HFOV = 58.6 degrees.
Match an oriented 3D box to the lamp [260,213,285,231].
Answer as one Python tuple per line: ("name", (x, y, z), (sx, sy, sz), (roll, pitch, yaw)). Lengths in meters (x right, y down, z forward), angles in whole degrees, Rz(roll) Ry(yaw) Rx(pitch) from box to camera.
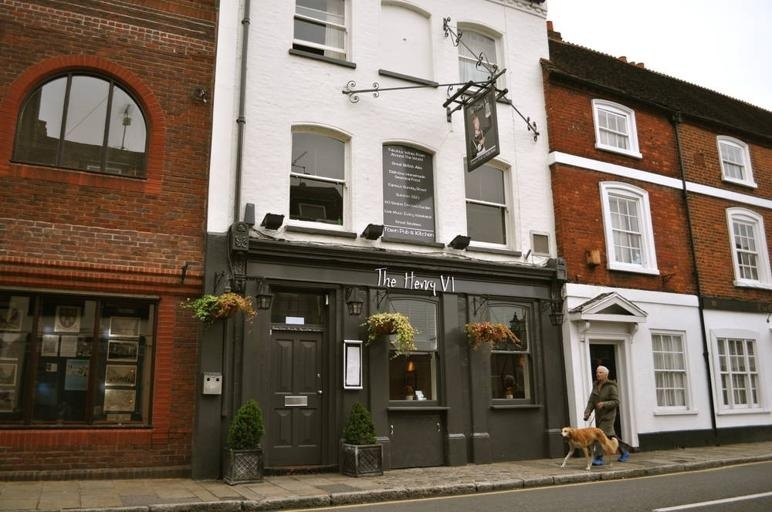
("lamp", (-2.644, -0.778, 16.026), (0.388, 0.374, 0.470), (-9, -13, 11))

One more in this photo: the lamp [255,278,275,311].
("lamp", (-2.817, 0.857, 15.704), (0.330, 0.706, 0.383), (9, -19, -27))

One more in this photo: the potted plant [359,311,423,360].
("potted plant", (0.184, 1.808, 16.501), (1.308, 1.080, 0.864), (11, -20, -33))

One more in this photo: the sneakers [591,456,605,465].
("sneakers", (5.034, 4.914, 16.464), (0.156, 0.276, 0.293), (6, -15, -4))

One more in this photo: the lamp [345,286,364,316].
("lamp", (-0.758, 1.064, 16.444), (0.474, 0.718, 0.356), (4, -17, -13))

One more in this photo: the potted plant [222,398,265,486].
("potted plant", (-3.030, 3.947, 14.595), (0.801, 1.721, 0.498), (3, -17, -8))

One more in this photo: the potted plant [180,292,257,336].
("potted plant", (-3.610, 1.111, 15.162), (1.321, 0.749, 0.802), (3, -17, -12))

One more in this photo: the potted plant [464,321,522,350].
("potted plant", (2.731, 1.992, 17.534), (1.389, 0.719, 0.839), (14, -21, -39))

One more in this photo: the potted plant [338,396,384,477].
("potted plant", (-0.560, 4.089, 15.323), (0.852, 1.571, 0.373), (-1, -17, 4))

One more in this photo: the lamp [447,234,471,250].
("lamp", (1.860, -0.345, 17.599), (0.364, 0.151, 0.528), (-30, -24, 32))

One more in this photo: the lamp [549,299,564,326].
("lamp", (4.536, 1.507, 18.394), (0.357, 0.653, 0.409), (-3, -17, 12))

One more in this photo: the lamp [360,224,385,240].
("lamp", (-0.354, -0.594, 16.854), (0.507, 0.317, 0.398), (4, -17, -14))
